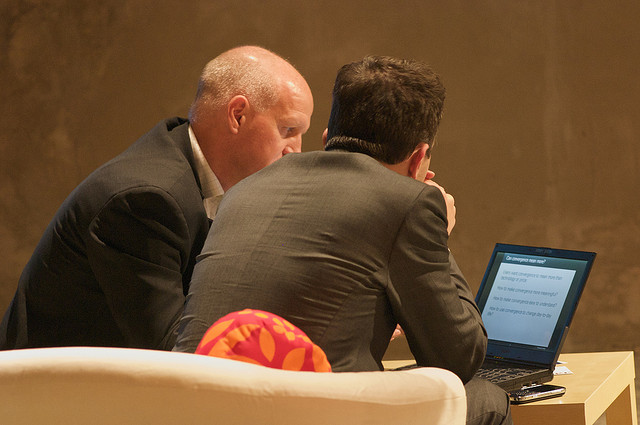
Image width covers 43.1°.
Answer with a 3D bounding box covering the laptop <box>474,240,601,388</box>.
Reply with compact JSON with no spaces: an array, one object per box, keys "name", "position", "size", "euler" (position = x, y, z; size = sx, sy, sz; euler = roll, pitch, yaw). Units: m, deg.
[{"name":"laptop","position":[0.838,0.404,3.246],"size":[0.416,0.435,0.628],"euler":[7,-6,33]}]
